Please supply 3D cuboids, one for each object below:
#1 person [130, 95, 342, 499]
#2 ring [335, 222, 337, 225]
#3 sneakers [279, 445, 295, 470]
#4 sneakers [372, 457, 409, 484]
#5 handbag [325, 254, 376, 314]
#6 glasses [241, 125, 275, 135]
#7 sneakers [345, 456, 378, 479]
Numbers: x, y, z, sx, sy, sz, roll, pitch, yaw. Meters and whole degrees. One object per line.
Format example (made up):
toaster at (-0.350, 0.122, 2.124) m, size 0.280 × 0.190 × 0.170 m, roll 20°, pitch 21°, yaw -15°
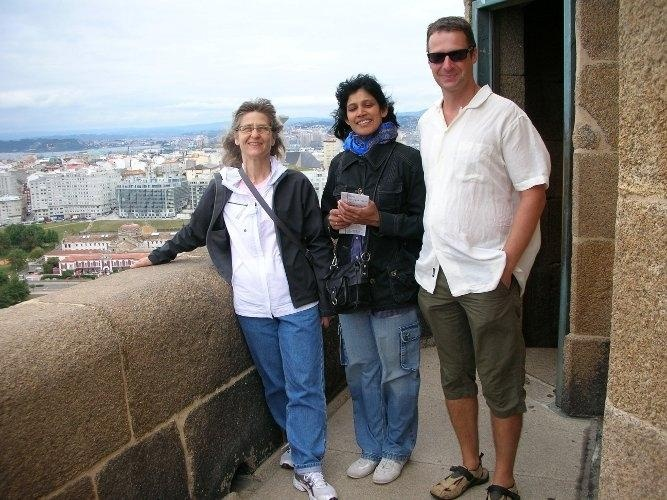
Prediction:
person at (-0.269, 0.185, 2.381) m, size 0.848 × 1.822 × 0.476 m, roll 6°, pitch 15°, yaw 36°
ring at (0.013, -0.125, 2.247) m, size 0.010 × 0.013 × 0.004 m, roll -5°, pitch 13°, yaw -4°
sneakers at (-0.221, 1.062, 2.471) m, size 0.064 × 0.085 × 0.176 m, roll 0°, pitch -16°, yaw 2°
sneakers at (0.262, 1.061, 2.333) m, size 0.065 × 0.068 × 0.181 m, roll -6°, pitch -2°, yaw 30°
handbag at (0.050, 0.153, 2.271) m, size 0.216 × 0.257 × 0.142 m, roll -13°, pitch -14°, yaw 36°
glasses at (-0.373, -0.573, 2.304) m, size 0.146 × 0.045 × 0.044 m, roll -5°, pitch 12°, yaw -10°
sneakers at (0.138, 1.072, 2.379) m, size 0.151 × 0.073 × 0.055 m, roll -7°, pitch -19°, yaw -17°
